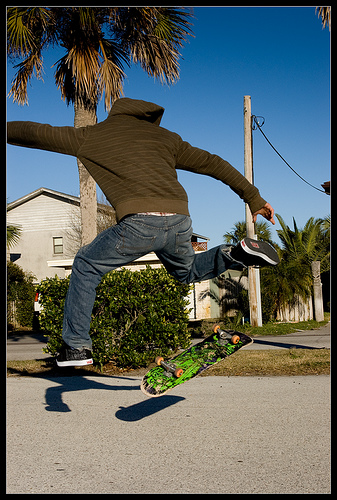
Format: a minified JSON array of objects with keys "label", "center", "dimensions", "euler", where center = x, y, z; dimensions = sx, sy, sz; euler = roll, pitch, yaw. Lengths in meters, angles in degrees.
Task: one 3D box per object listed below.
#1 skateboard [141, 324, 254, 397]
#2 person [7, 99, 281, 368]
[{"label":"skateboard","center":[0.302,1.301,5.101],"dimensions":[1.605,0.224,0.419],"euler":[-28,36,-22]},{"label":"person","center":[-0.135,-0.097,2.864],"dimensions":[1.630,1.582,0.754],"euler":[-2,-8,-28]}]
